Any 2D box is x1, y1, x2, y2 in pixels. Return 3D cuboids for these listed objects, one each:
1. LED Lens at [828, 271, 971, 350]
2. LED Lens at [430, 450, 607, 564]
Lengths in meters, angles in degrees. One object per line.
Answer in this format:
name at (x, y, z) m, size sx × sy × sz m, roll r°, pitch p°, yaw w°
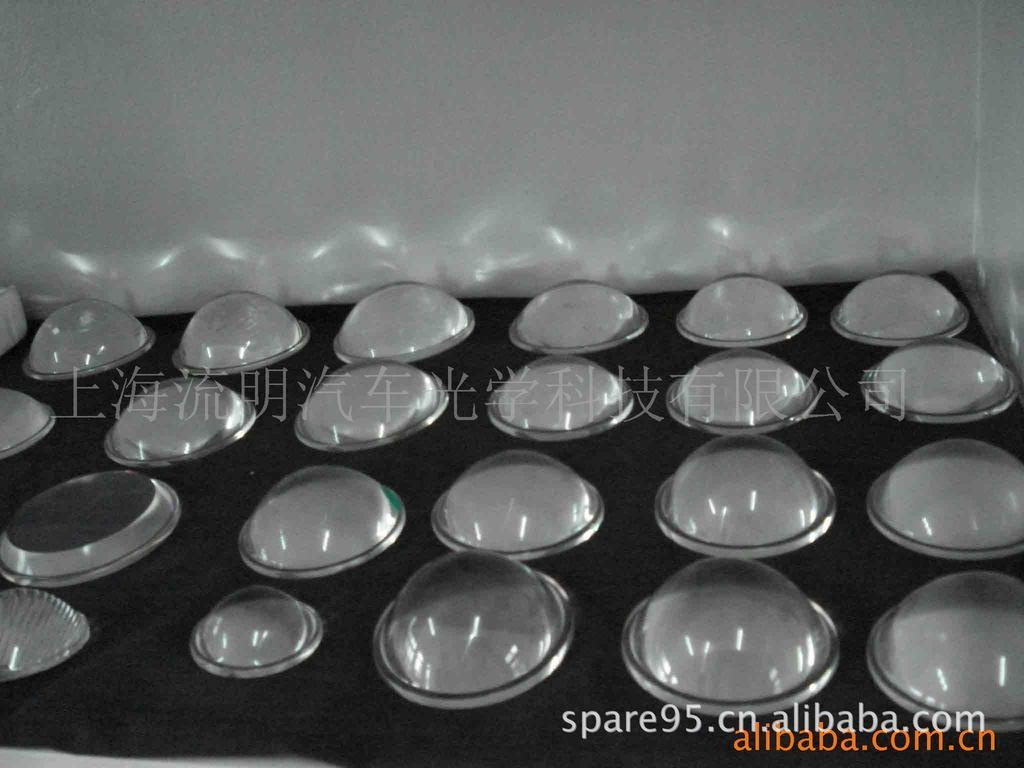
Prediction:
LED Lens at (0.537, -0.091, 1.349) m, size 0.183 × 0.054 × 0.138 m, roll -3°, pitch 52°, yaw 18°
LED Lens at (0.000, 0.143, 1.091) m, size 0.196 × 0.076 × 0.128 m, roll -1°, pitch 51°, yaw 19°
